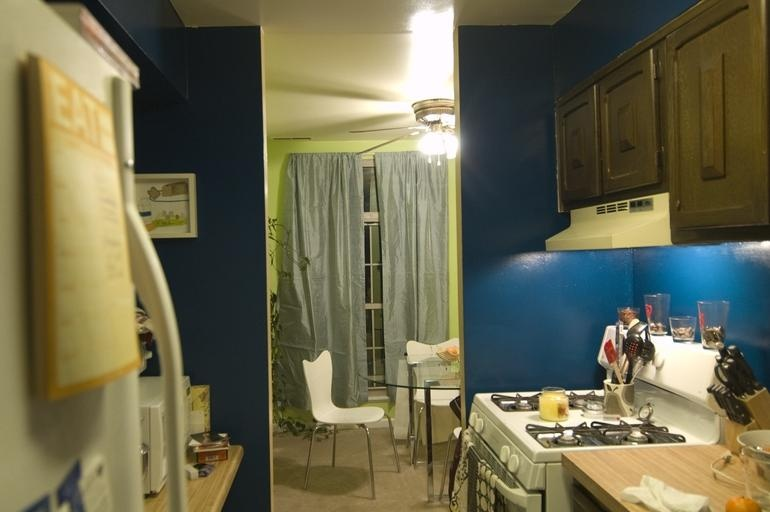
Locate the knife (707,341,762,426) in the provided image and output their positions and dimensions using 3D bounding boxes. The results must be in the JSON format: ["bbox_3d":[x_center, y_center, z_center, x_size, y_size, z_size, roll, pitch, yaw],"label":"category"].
[{"bbox_3d":[1.167,0.436,1.930,0.068,0.279,0.137,-9,11,2],"label":"knife"}]

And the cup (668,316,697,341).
[{"bbox_3d":[1.213,0.299,2.350,0.094,0.086,0.103,0,-6,0],"label":"cup"}]

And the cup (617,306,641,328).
[{"bbox_3d":[1.129,0.286,2.674,0.096,0.082,0.110,1,-7,-4],"label":"cup"}]

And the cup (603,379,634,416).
[{"bbox_3d":[0.976,0.597,2.413,0.139,0.132,0.117,-2,-4,25],"label":"cup"}]

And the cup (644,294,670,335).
[{"bbox_3d":[1.207,0.255,2.548,0.093,0.160,0.161,-4,0,28],"label":"cup"}]

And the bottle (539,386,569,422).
[{"bbox_3d":[0.697,0.627,2.431,0.117,0.112,0.117,1,-4,-9],"label":"bottle"}]

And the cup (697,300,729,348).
[{"bbox_3d":[1.220,0.262,2.139,0.096,0.158,0.137,-4,0,31],"label":"cup"}]
